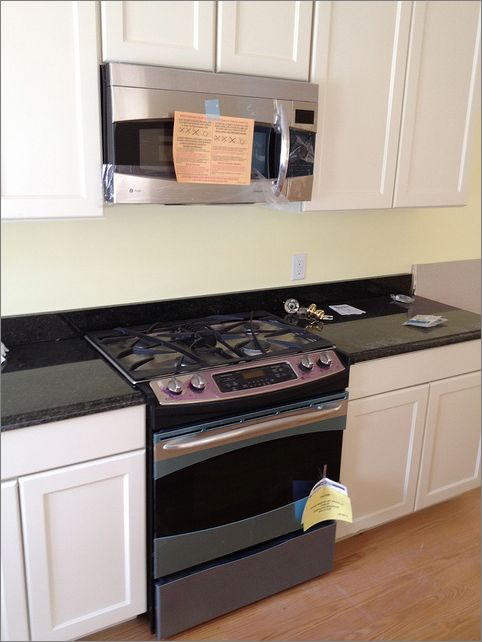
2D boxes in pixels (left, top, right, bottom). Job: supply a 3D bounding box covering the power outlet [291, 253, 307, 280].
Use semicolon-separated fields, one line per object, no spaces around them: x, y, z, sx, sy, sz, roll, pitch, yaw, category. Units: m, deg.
0.245;-0.242;2.166;0.102;0.149;0.017;-6;15;-31;power outlet
